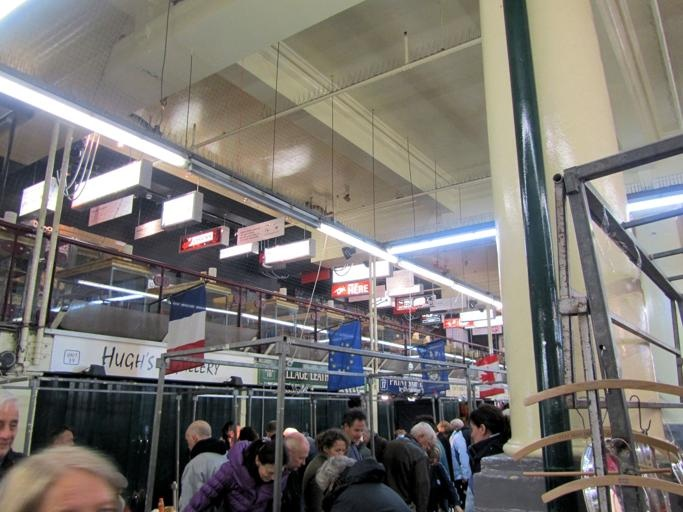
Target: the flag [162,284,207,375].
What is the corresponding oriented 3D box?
[{"bbox_3d":[-2.241,1.000,7.561,0.524,1.372,0.950,6,-21,-18],"label":"flag"}]
